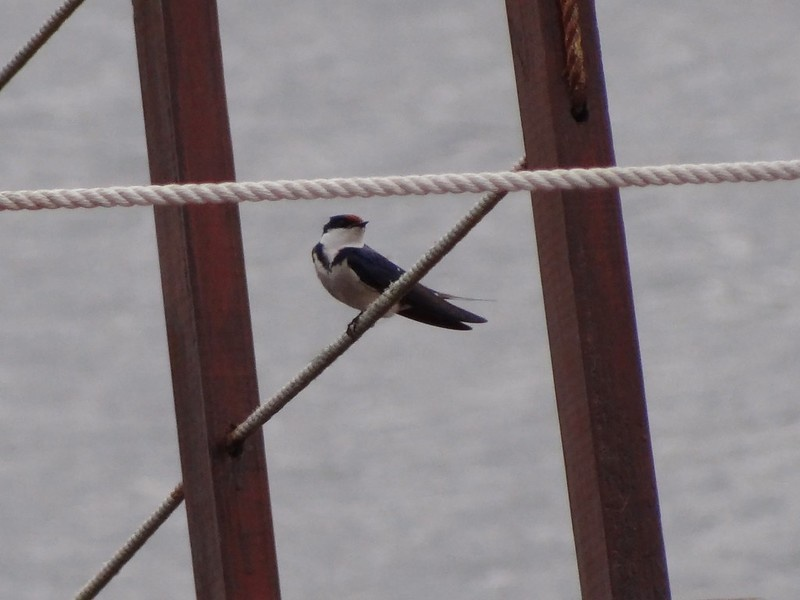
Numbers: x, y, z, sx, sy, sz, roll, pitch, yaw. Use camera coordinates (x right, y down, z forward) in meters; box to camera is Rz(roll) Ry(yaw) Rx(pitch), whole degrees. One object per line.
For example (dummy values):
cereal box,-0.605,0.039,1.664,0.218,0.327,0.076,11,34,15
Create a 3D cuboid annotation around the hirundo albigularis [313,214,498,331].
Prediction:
hirundo albigularis,0.043,-0.087,6.756,0.732,0.414,0.270,6,-14,-22
